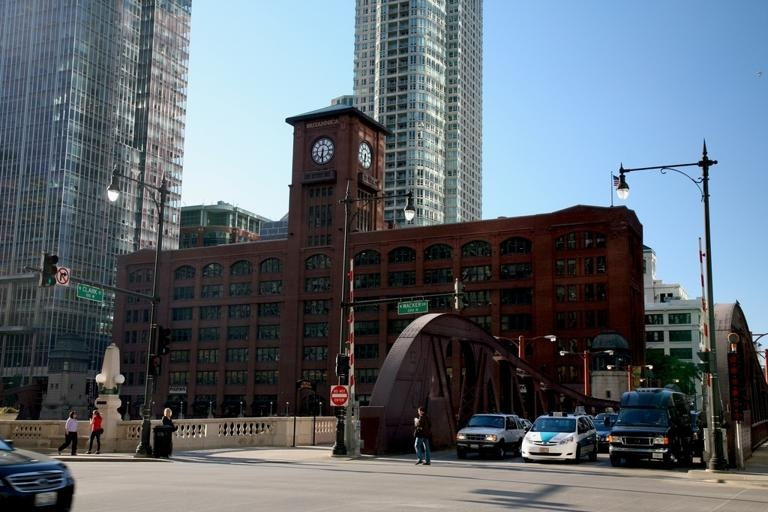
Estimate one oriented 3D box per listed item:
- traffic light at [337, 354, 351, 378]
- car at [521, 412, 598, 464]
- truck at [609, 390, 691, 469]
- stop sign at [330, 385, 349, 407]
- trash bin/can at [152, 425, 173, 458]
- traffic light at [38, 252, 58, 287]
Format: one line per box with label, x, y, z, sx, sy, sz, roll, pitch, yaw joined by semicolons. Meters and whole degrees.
traffic light;-2.337;6.077;46.178;0.762;1.095;0.787;7;-16;-24
car;9.798;10.148;45.716;2.539;2.309;6.449;-3;-8;25
truck;14.589;9.182;44.692;3.356;3.560;8.584;-4;-8;34
stop sign;-2.453;7.694;45.464;0.953;1.264;1.143;0;-15;0
trash bin/can;-11.951;10.002;44.397;0.981;1.659;0.622;4;-15;-16
traffic light;-17.192;0.628;42.366;0.762;1.723;1.046;6;-16;-22
